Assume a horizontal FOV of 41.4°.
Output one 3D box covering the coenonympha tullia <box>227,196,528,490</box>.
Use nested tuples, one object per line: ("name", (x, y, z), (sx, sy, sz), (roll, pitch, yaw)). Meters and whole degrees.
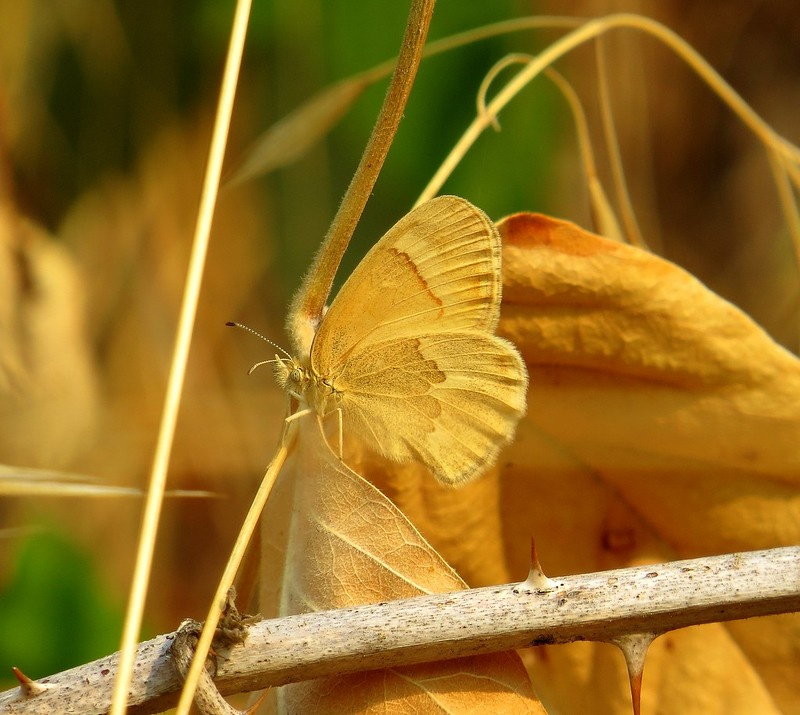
("coenonympha tullia", (-0.012, -0.022, 1.258), (0.254, 0.274, 0.364), (8, -13, -15))
